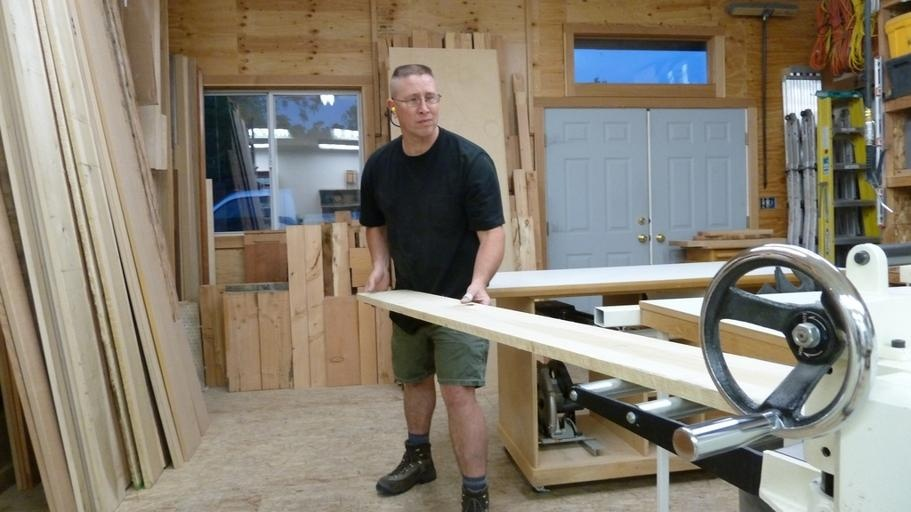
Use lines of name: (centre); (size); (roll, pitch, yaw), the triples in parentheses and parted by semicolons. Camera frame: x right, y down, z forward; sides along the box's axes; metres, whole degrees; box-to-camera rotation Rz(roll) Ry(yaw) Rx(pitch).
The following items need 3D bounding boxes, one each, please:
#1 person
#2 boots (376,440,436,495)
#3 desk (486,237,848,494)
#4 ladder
person: (-0.193, 0.236, 5.802); (1.063, 3.232, 0.657); (-2, 9, 15)
boots: (-0.386, 1.599, 6.114); (0.530, 0.333, 0.176); (-8, 6, -39)
desk: (1.301, 0.780, 5.204); (2.063, 1.130, 0.677); (-3, 15, -12)
ladder: (4.107, -0.860, 8.797); (0.954, 1.903, 0.708); (0, 9, 25)
